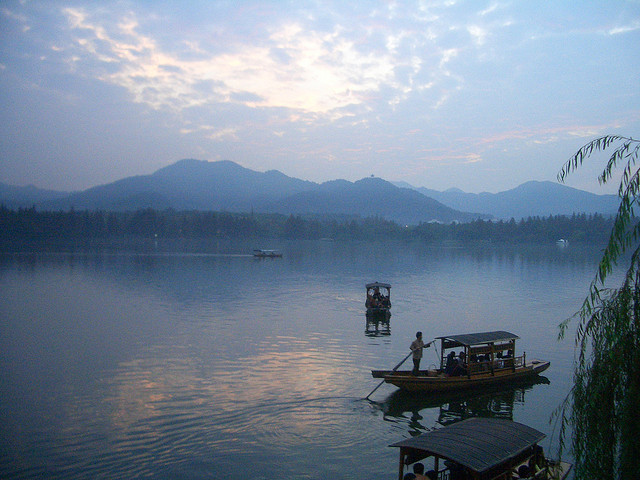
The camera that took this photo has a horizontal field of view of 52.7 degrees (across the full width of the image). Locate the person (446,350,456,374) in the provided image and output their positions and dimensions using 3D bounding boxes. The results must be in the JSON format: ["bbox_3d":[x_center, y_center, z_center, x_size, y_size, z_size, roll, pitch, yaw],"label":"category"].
[{"bbox_3d":[9.991,9.359,49.219,0.686,1.637,0.557,2,0,8],"label":"person"}]

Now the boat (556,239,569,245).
[{"bbox_3d":[139.553,1.185,371.726,5.095,2.795,7.353,2,-1,18],"label":"boat"}]

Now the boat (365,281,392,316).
[{"bbox_3d":[7.213,7.199,75.977,3.090,3.913,3.006,-2,-3,2],"label":"boat"}]

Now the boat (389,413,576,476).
[{"bbox_3d":[9.467,12.095,37.821,4.915,1.935,7.156,-3,-4,43],"label":"boat"}]

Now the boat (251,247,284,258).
[{"bbox_3d":[-18.247,4.290,225.209,10.098,2.809,2.830,-2,9,-4],"label":"boat"}]

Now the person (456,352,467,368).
[{"bbox_3d":[10.786,9.167,49.194,0.700,1.244,1.072,-4,4,-36],"label":"person"}]

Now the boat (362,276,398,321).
[{"bbox_3d":[6.885,7.102,76.251,4.213,5.013,4.197,0,2,6],"label":"boat"}]
